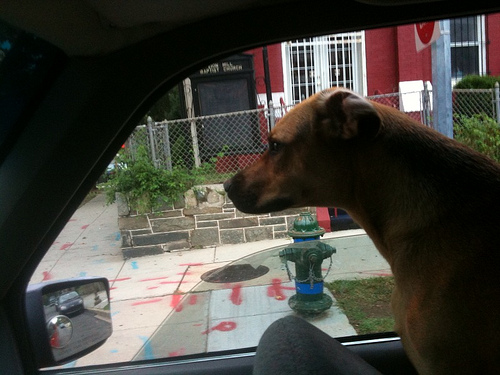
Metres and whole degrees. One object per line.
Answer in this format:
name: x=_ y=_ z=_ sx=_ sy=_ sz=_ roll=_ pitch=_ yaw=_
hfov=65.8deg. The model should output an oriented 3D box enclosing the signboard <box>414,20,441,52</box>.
signboard: x=1.079 y=-0.970 z=2.373 sx=0.011 sy=0.235 sz=0.192 roll=-6 pitch=0 yaw=-20
